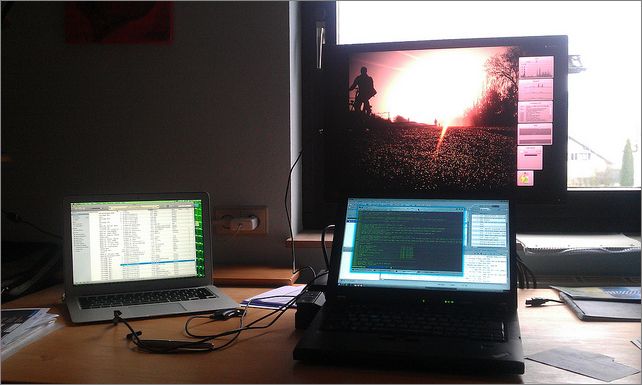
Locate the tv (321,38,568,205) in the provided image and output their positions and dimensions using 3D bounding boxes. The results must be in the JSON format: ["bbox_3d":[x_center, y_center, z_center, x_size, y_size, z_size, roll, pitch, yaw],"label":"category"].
[{"bbox_3d":[0.537,-0.287,2.065,0.778,0.478,0.018,0,4,10],"label":"tv"}]
